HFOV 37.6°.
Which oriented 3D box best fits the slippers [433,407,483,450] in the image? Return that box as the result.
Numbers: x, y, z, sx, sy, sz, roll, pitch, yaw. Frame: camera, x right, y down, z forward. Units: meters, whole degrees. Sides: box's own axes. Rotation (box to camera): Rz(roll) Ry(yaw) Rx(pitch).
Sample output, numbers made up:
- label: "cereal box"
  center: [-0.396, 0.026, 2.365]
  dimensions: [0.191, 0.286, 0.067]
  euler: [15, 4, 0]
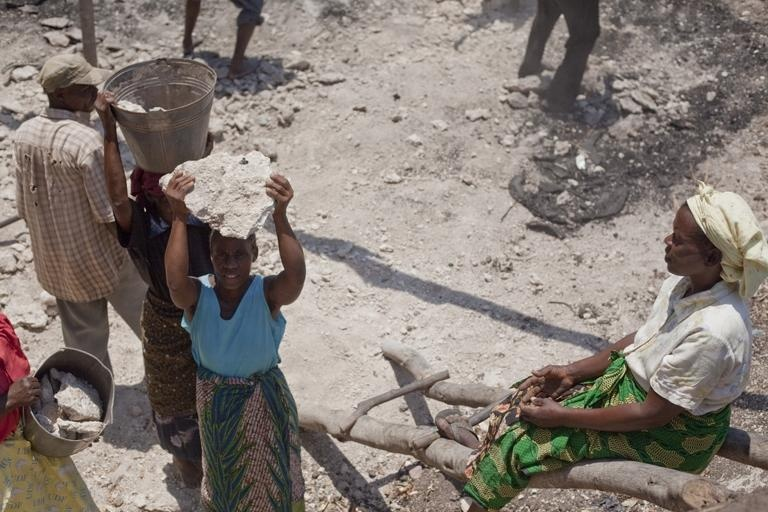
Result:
- label: "slippers"
  center: [0.529, 1.325, 8.487]
  dimensions: [0.342, 0.136, 0.202]
  euler: [37, 53, 19]

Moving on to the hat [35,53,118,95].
- label: "hat"
  center: [-2.319, -1.376, 8.367]
  dimensions: [0.472, 0.207, 0.278]
  euler: [-15, 28, -17]

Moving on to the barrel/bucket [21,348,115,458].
- label: "barrel/bucket"
  center: [-2.199, 1.008, 7.975]
  dimensions: [0.642, 0.534, 0.727]
  euler: [24, 51, -22]

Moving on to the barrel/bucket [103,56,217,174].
- label: "barrel/bucket"
  center: [-1.680, -1.083, 8.362]
  dimensions: [0.769, 0.643, 0.736]
  euler: [7, 36, -5]
